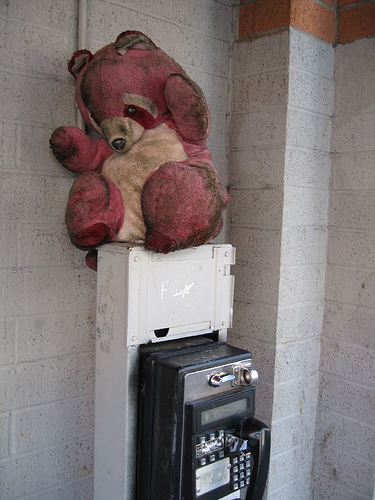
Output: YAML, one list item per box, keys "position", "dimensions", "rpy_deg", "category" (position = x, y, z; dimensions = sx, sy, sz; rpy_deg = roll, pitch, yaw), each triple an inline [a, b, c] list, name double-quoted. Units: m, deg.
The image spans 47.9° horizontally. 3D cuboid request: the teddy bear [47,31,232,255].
- position: [-0.125, -0.296, 1.191]
  dimensions: [0.406, 0.573, 0.388]
  rpy_deg: [-7, 3, 30]
  category: "teddy bear"
